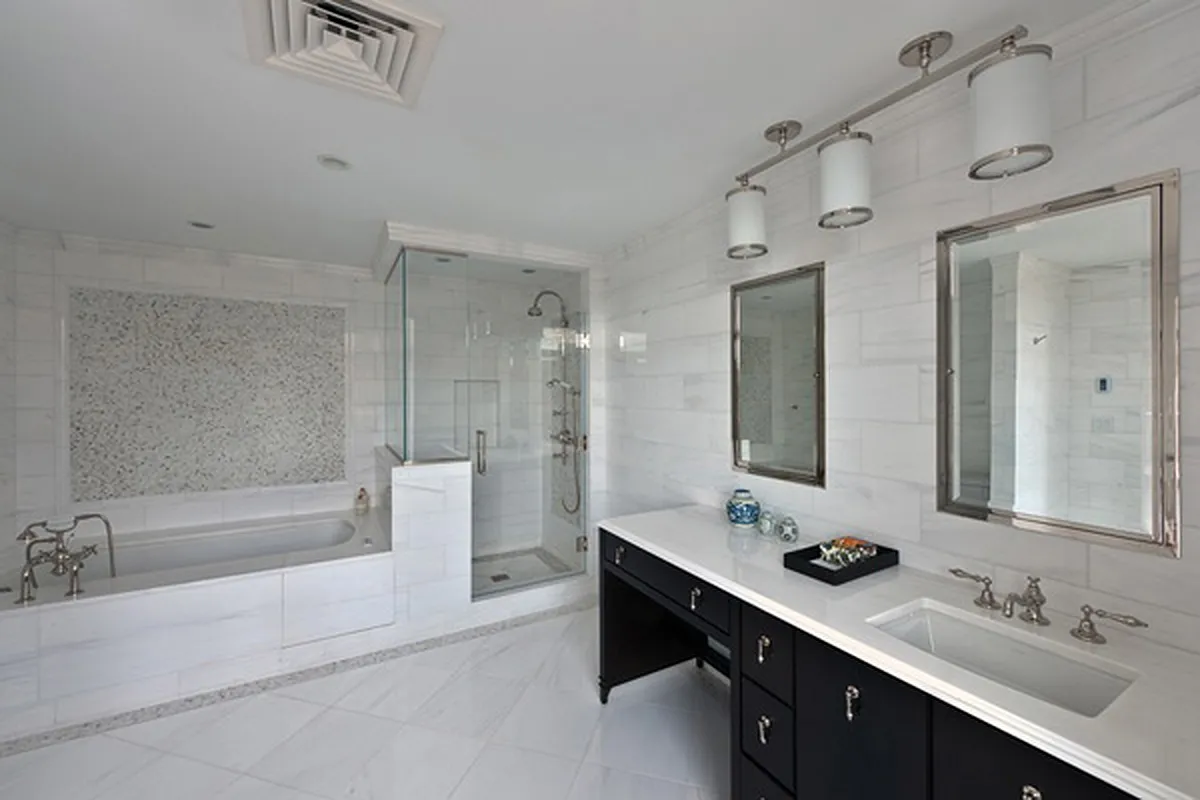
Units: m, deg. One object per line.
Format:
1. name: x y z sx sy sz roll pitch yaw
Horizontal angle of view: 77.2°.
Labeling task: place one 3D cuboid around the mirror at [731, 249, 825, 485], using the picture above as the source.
1. mirror: 0.930 -0.120 4.013 0.067 1.137 0.626 -2 1 -35

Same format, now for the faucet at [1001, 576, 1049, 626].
1. faucet: 1.763 0.837 3.109 0.253 0.156 0.132 5 -6 -32
